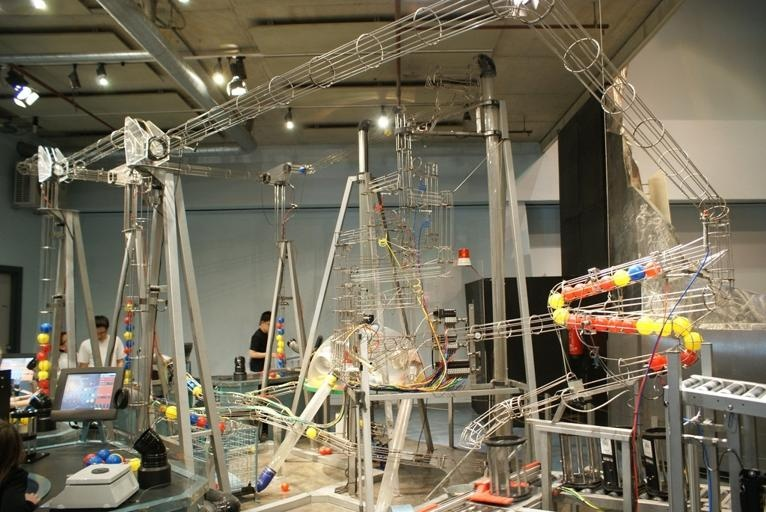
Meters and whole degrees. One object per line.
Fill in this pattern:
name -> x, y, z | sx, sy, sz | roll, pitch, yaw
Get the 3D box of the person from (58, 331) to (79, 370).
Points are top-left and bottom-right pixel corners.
person -> -3.827, 1.134, 8.993 | 0.188, 0.526, 1.438 | 5, -12, -23

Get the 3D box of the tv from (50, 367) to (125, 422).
tv -> -2.787, 1.312, 7.003 | 0.537, 0.449, 0.207 | -2, -2, 6

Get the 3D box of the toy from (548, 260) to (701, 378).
toy -> 2.163, 0.474, 6.807 | 1.191, 1.121, 0.470 | -16, 21, 34
